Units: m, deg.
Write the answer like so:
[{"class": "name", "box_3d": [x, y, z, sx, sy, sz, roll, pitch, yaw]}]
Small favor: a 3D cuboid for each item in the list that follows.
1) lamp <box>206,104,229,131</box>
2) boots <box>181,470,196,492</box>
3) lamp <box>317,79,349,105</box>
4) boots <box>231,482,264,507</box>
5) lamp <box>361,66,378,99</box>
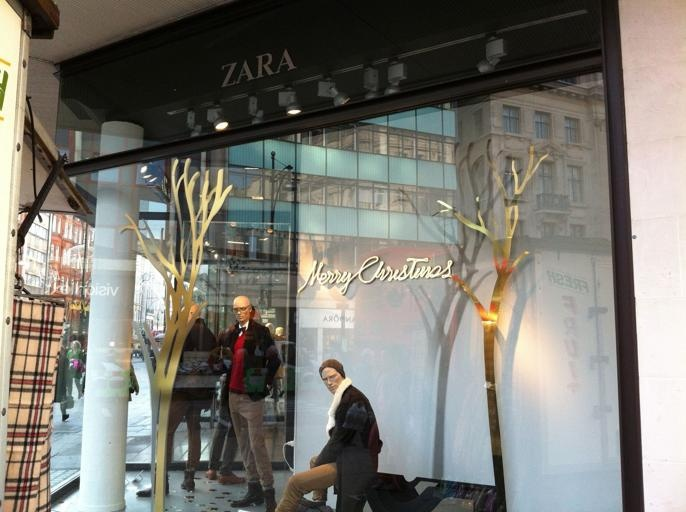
[{"class": "lamp", "box_3d": [-0.942, -1.038, 4.757, 0.138, 0.236, 0.114, -16, -20, 5]}, {"class": "boots", "box_3d": [-1.105, 1.628, 4.519, 0.063, 0.121, 0.174, 2, -8, -13]}, {"class": "lamp", "box_3d": [-0.082, -1.145, 4.408, 0.229, 0.149, 0.258, -5, 32, -16]}, {"class": "boots", "box_3d": [-0.632, 1.671, 4.372, 0.286, 0.209, 0.105, 1, -14, 2]}, {"class": "lamp", "box_3d": [0.192, -1.191, 4.306, 0.115, 0.222, 0.034, -8, -14, 34]}]
